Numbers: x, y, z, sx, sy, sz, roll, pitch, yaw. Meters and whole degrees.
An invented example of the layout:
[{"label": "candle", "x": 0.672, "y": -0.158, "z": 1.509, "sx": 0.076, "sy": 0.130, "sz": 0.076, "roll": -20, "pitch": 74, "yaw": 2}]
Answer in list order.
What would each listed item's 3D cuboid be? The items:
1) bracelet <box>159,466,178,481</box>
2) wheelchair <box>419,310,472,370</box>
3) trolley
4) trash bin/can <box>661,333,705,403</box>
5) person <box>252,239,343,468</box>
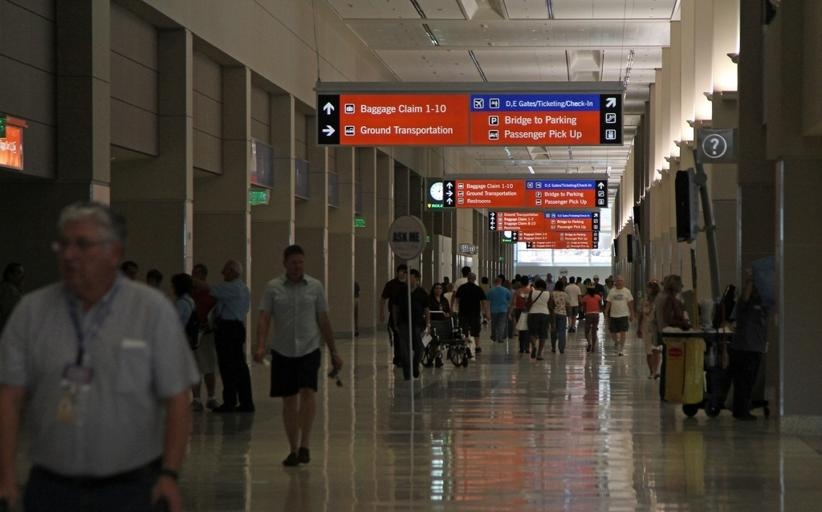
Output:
[{"label": "bracelet", "x": -1.235, "y": 1.099, "z": 3.701, "sx": 0.089, "sy": 0.068, "sz": 0.123, "roll": 2, "pitch": -8, "yaw": -21}, {"label": "wheelchair", "x": 0.903, "y": 2.095, "z": 18.213, "sx": 1.467, "sy": 1.780, "sz": 0.874, "roll": -1, "pitch": -3, "yaw": 12}, {"label": "trolley", "x": 4.849, "y": 1.812, "z": 11.892, "sx": 1.909, "sy": 1.649, "sz": 1.373, "roll": 4, "pitch": -8, "yaw": -32}, {"label": "trash bin/can", "x": 4.371, "y": 1.793, "z": 11.832, "sx": 0.628, "sy": 1.018, "sz": 0.697, "roll": 0, "pitch": -5, "yaw": 32}, {"label": "person", "x": -1.365, "y": 1.098, "z": 8.638, "sx": 0.941, "sy": 2.495, "sz": 1.146, "roll": 0, "pitch": 0, "yaw": 1}]
